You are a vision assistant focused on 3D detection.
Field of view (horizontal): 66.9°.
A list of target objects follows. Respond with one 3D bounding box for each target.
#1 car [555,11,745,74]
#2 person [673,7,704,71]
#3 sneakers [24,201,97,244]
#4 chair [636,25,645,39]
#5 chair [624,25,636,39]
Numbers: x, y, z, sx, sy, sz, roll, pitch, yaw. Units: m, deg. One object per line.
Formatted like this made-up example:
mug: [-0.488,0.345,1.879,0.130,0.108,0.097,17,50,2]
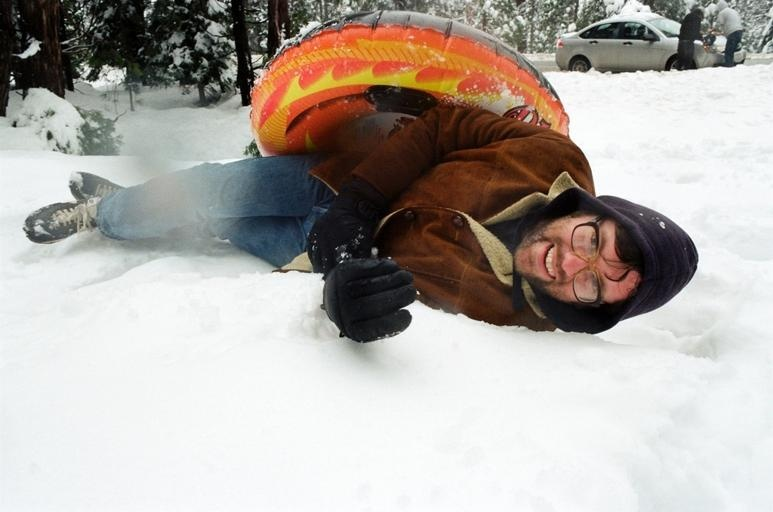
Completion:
car: [5.263,-4.028,12.059,3.356,1.225,1.668,12,28,35]
person: [5.535,-3.937,10.604,0.442,1.121,1.026,15,26,23]
sneakers: [-2.287,-0.295,4.223,0.598,0.232,0.234,-23,15,-31]
chair: [5.044,-4.414,11.568,0.171,0.233,0.167,7,24,7]
chair: [4.897,-4.450,11.625,0.289,0.208,0.106,2,-8,23]
